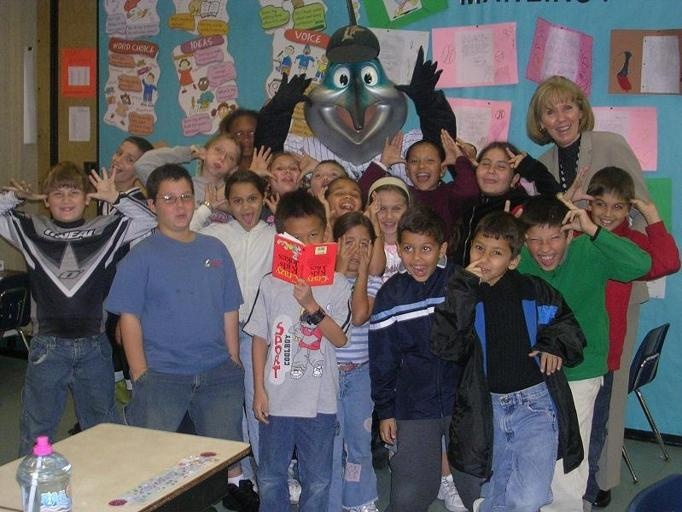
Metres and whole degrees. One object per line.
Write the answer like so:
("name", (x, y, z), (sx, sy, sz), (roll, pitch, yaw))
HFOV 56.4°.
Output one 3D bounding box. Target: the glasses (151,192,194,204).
("glasses", (-0.969, -0.335, 3.745), (0.195, 0.068, 0.065), (-1, 5, -16))
